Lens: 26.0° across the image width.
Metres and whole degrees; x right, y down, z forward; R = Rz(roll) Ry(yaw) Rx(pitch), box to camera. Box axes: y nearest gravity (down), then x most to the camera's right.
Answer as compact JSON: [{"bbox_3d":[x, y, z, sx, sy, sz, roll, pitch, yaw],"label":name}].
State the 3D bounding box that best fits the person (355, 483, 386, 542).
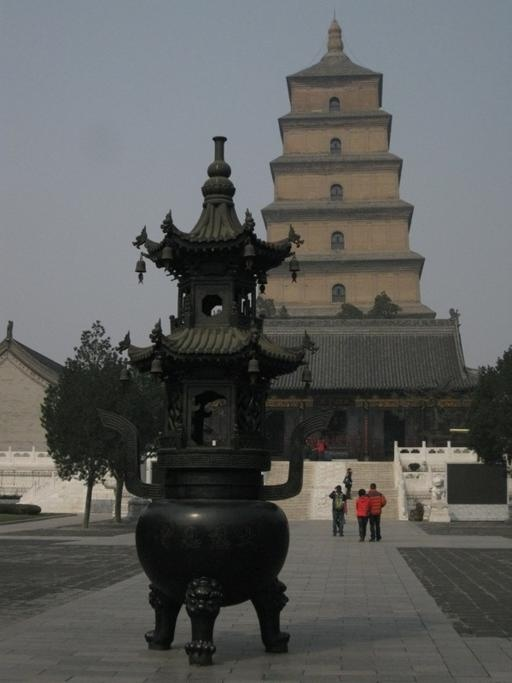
[{"bbox_3d":[2.341,3.471,22.477,0.552,1.152,1.280,-1,-9,7],"label":"person"}]
